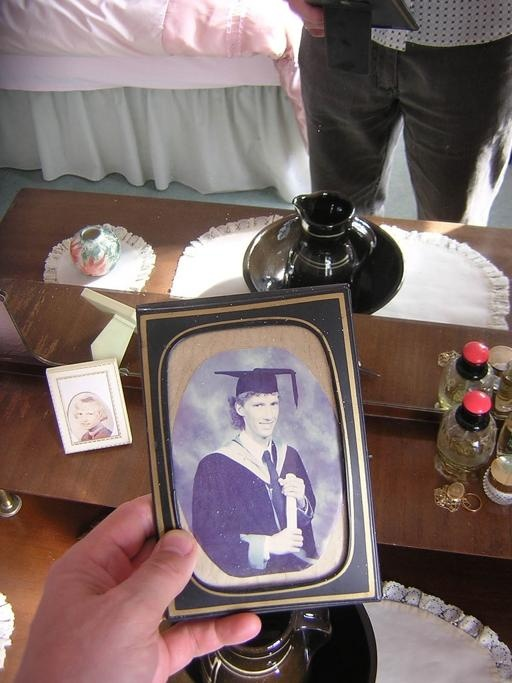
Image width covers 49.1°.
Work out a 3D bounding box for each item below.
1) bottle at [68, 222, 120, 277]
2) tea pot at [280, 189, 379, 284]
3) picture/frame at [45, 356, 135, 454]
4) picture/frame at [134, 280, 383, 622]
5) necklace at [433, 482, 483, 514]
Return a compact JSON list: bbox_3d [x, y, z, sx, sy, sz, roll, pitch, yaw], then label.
[{"bbox_3d":[-0.270,-0.153,0.942,0.079,0.077,0.086,15,48,5],"label":"bottle"},{"bbox_3d":[0.102,-0.105,0.729,0.110,0.159,0.079,22,51,27],"label":"tea pot"},{"bbox_3d":[-0.203,0.079,0.691,0.101,0.123,0.013,-12,13,-5],"label":"picture/frame"},{"bbox_3d":[0.002,0.083,0.507,0.202,0.262,0.080,-7,2,1],"label":"picture/frame"},{"bbox_3d":[0.230,0.173,0.634,0.052,0.016,0.032,4,44,11],"label":"necklace"}]
